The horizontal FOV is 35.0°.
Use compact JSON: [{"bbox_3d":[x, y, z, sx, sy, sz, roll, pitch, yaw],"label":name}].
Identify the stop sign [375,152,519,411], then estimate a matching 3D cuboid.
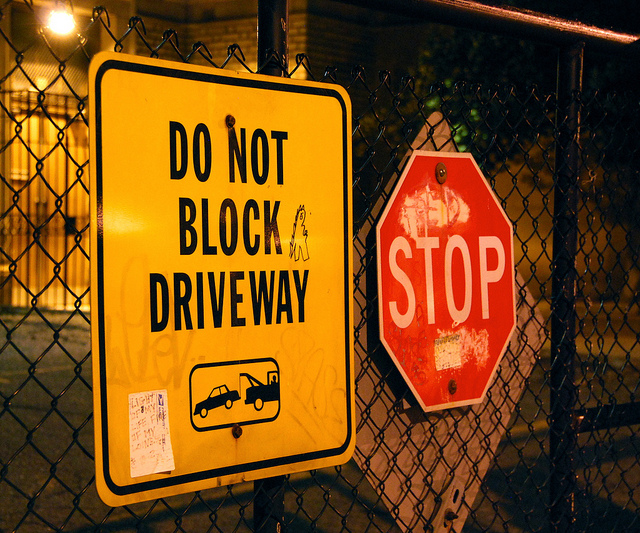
[{"bbox_3d":[0.540,0.079,4.465,0.886,0.084,1.591,-1,90,-39],"label":"stop sign"}]
